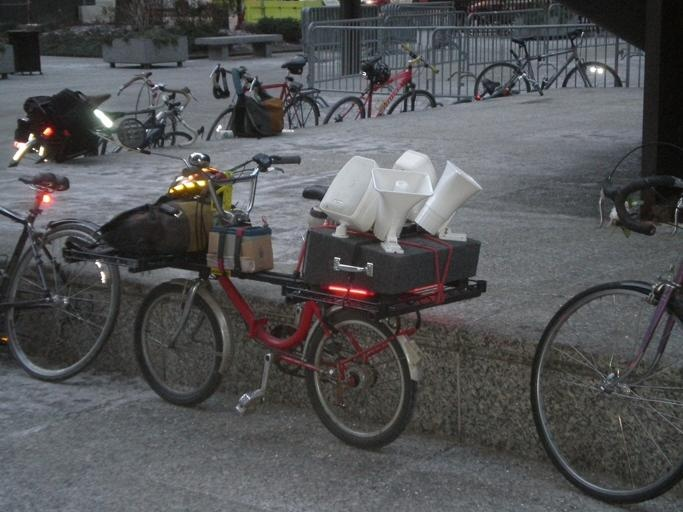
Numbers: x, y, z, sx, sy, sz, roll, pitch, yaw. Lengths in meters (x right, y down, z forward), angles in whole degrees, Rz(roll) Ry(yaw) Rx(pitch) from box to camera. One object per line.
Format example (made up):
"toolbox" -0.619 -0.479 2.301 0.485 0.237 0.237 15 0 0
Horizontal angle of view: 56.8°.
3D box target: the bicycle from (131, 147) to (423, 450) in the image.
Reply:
"bicycle" -0.339 0.187 3.647 1.871 1.431 0.716 7 10 33

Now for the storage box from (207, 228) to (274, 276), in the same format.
"storage box" -0.563 -0.047 3.553 0.322 0.238 0.233 6 11 36
